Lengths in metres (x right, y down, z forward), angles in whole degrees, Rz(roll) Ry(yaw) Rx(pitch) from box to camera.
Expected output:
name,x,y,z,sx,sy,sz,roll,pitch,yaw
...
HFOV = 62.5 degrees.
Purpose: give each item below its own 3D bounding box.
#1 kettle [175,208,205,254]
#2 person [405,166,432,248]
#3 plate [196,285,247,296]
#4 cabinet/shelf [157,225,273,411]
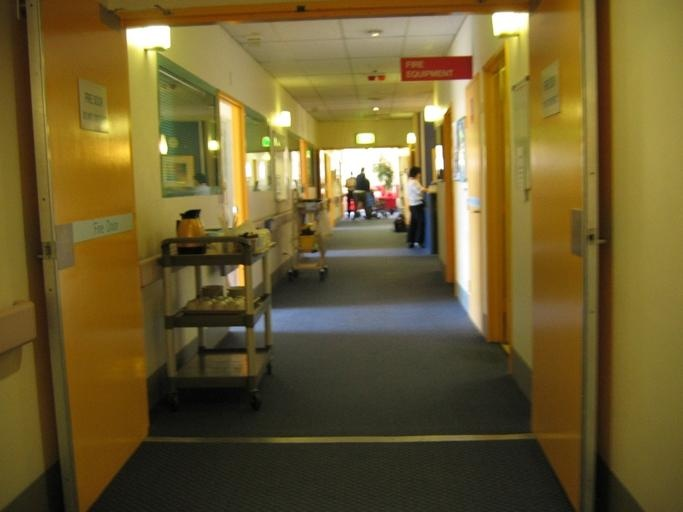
name,x,y,z,sx,sy,sz,roll,pitch,yaw
kettle,-1.148,-0.188,4.270,0.201,0.309,0.312,-4,9,-14
person,1.610,-1.026,12.110,0.383,1.740,1.265,-1,8,7
plate,-1.005,0.291,4.657,0.261,0.082,0.180,1,4,-1
cabinet/shelf,-1.151,0.404,4.906,1.073,1.745,1.525,0,4,1
